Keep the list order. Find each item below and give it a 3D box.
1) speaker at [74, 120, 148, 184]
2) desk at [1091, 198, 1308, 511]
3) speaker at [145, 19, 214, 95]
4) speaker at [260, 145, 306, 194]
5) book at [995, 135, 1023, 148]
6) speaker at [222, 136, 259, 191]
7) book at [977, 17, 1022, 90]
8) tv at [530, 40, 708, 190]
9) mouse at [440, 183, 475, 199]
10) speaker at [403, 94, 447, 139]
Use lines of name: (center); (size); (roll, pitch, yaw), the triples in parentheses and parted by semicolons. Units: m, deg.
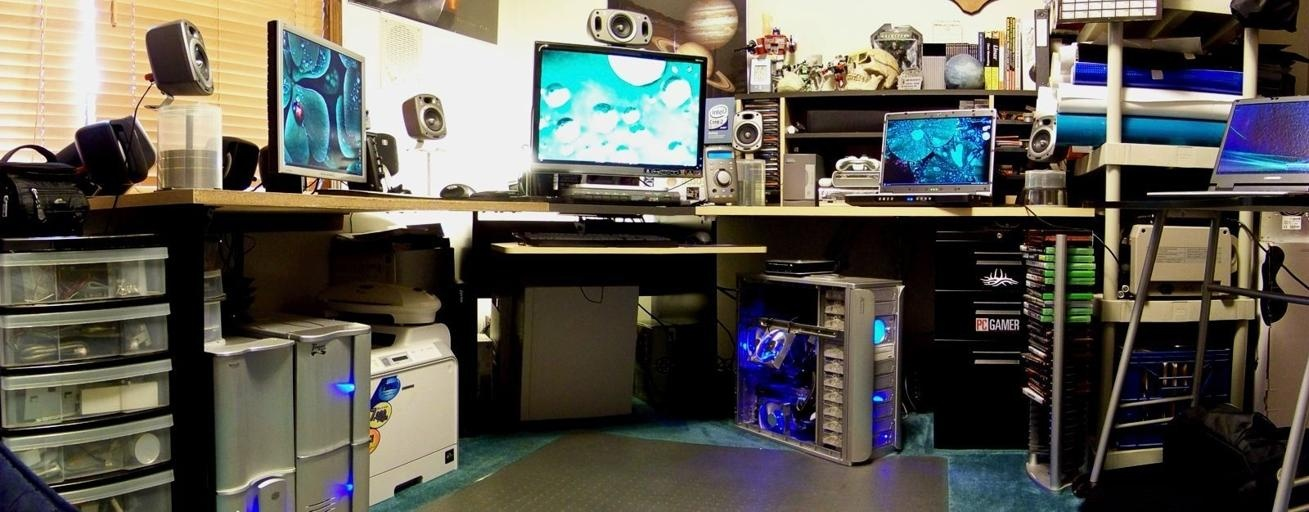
speaker: (-3.476, -0.646, 5.337); (0.534, 0.326, 0.304); (-13, 4, -3)
desk: (3.717, 0.578, 5.646); (1.275, 2.019, 1.050); (2, 9, 23)
speaker: (-3.025, -1.241, 5.291); (0.334, 0.467, 0.160); (-4, 9, -21)
speaker: (-2.473, -0.565, 5.526); (0.238, 0.303, 0.523); (-5, 8, -23)
book: (2.946, -0.925, 6.863); (0.207, 0.086, 0.078); (1, 8, 15)
speaker: (-2.778, -0.614, 5.557); (0.236, 0.338, 0.141); (-6, 9, -31)
book: (2.925, -1.685, 6.989); (0.359, 0.598, 0.225); (-2, 8, -1)
tv: (-0.287, -1.032, 6.216); (1.769, 0.832, 0.171); (0, 4, -9)
mouse: (-1.432, -0.466, 6.130); (0.237, 0.058, 0.157); (0, 1, -36)
speaker: (-1.715, -1.016, 6.213); (0.256, 0.338, 0.203); (-5, 9, -23)
